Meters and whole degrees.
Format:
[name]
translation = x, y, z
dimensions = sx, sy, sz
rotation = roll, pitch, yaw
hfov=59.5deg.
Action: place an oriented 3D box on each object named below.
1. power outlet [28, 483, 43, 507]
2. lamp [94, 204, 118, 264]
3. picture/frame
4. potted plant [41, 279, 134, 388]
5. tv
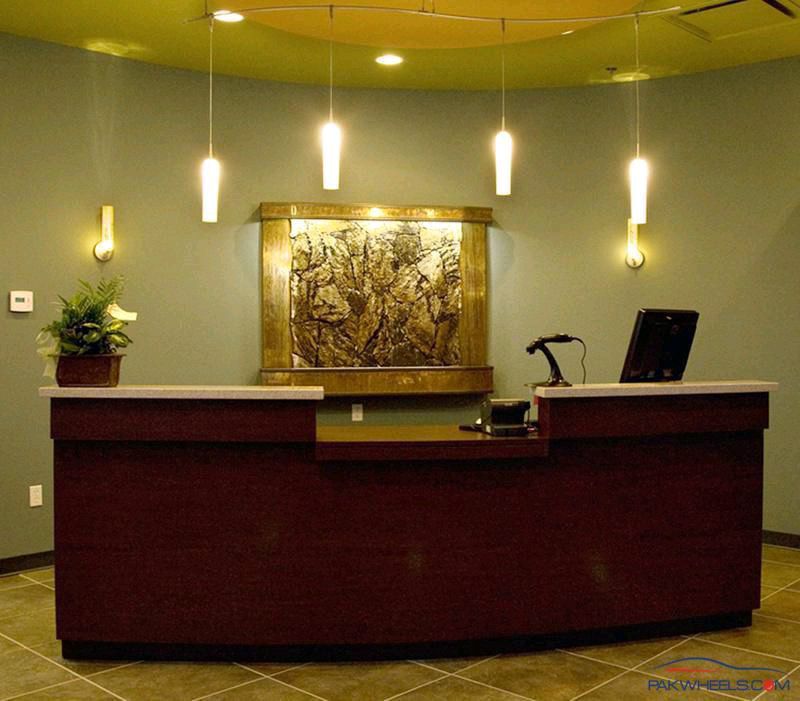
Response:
[power outlet]
translation = -2.561, 1.023, 4.931
dimensions = 0.095, 0.164, 0.027
rotation = -1, 2, -31
[lamp]
translation = -2.182, -0.868, 5.175
dimensions = 0.152, 0.415, 0.093
rotation = -1, 2, -25
[picture/frame]
translation = -0.269, -0.426, 5.703
dimensions = 1.494, 1.330, 0.208
rotation = 0, 2, -5
[potted plant]
translation = -1.572, -0.096, 3.521
dimensions = 0.402, 0.546, 0.263
rotation = -1, 2, -30
[tv]
translation = 1.476, -0.023, 3.907
dimensions = 0.403, 0.425, 0.045
rotation = 0, 18, -22
